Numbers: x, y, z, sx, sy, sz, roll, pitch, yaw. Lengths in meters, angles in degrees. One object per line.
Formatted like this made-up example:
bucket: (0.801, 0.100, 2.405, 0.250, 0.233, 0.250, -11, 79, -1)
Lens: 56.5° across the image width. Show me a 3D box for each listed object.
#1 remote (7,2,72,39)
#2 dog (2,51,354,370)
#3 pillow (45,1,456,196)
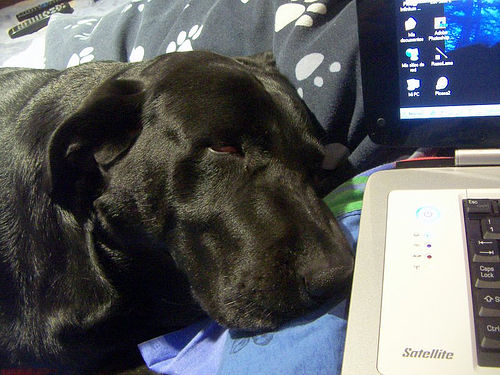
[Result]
remote: (-0.689, -0.544, 1.531, 0.223, 0.055, 0.065, -34, 75, 4)
dog: (-0.229, 0.000, 1.091, 0.813, 0.397, 0.680, -15, 51, 6)
pillow: (-0.129, -0.212, 1.365, 0.671, 0.187, 0.749, 2, 49, -17)
